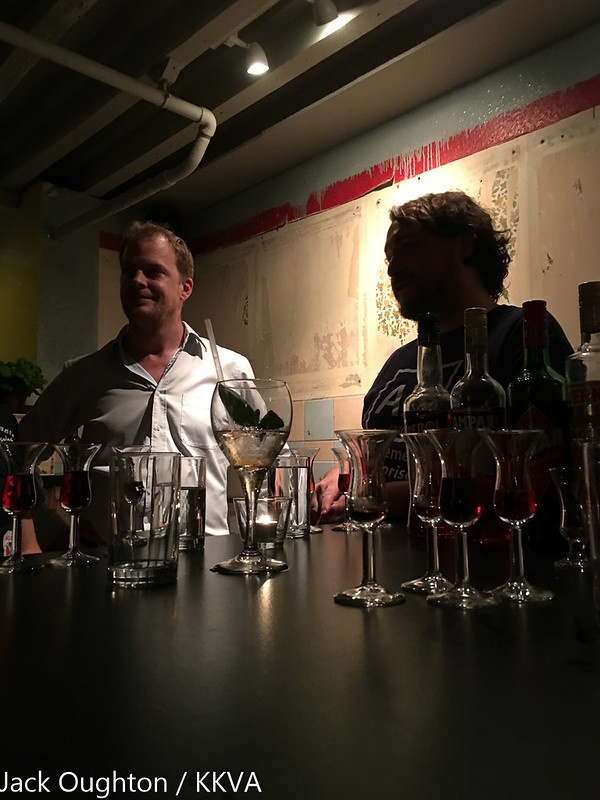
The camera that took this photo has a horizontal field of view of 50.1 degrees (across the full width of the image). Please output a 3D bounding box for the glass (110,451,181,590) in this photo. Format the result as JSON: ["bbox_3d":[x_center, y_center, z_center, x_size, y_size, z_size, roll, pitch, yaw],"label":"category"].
[{"bbox_3d":[-0.164,0.124,0.681,0.070,0.145,0.051,1,-6,-15],"label":"glass"}]

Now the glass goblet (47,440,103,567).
[{"bbox_3d":[-0.317,0.147,0.912,0.071,0.160,0.068,5,-10,-37],"label":"glass goblet"}]

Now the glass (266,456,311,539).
[{"bbox_3d":[-0.026,0.175,1.191,0.091,0.150,0.093,-4,-9,36],"label":"glass"}]

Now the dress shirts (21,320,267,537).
[{"bbox_3d":[-0.491,0.098,2.215,0.862,0.682,0.284,-3,13,-16],"label":"dress shirts"}]

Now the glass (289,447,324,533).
[{"bbox_3d":[0.026,0.187,1.353,0.081,0.167,0.077,11,-14,-25],"label":"glass"}]

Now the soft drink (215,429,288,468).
[{"bbox_3d":[-0.063,0.065,0.838,0.090,0.052,0.092,-1,-6,1],"label":"soft drink"}]

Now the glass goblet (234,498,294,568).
[{"bbox_3d":[-0.049,0.197,1.002,0.080,0.074,0.086,0,-14,-18],"label":"glass goblet"}]

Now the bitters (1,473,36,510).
[{"bbox_3d":[-0.372,0.125,0.862,0.042,0.051,0.041,2,-7,-29],"label":"bitters"}]

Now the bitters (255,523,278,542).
[{"bbox_3d":[-0.051,0.200,0.968,0.033,0.032,0.028,2,-2,-7],"label":"bitters"}]
